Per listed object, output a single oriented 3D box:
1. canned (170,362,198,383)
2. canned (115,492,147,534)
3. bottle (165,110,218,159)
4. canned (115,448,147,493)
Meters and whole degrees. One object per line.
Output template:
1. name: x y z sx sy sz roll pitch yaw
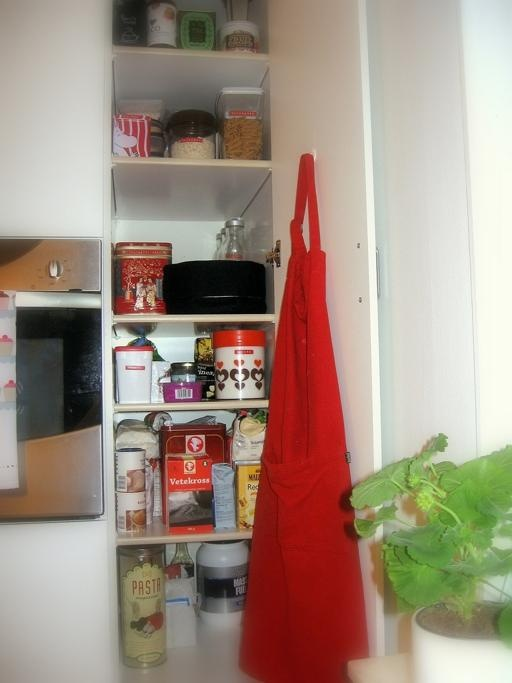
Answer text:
1. canned: -0.174 0.076 1.493 0.048 0.052 0.089 1 -2 0
2. canned: -0.283 0.389 1.407 0.081 0.090 0.082 0 -5 -8
3. bottle: -0.163 -0.520 1.606 0.133 0.129 0.134 1 6 7
4. canned: -0.290 0.303 1.442 0.076 0.083 0.076 -8 -12 32
